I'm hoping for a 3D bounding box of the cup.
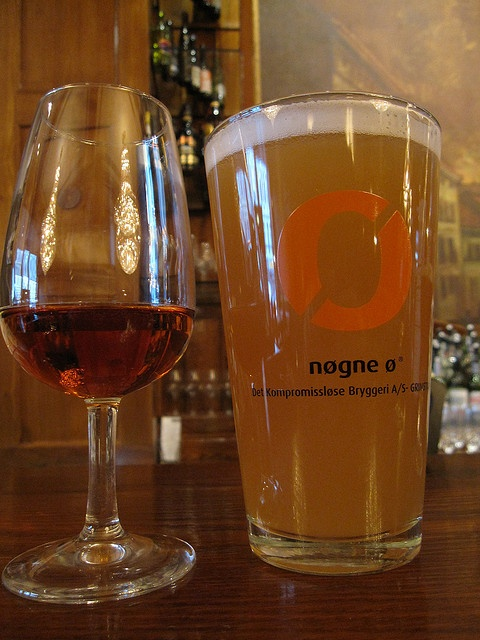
[{"bbox_3d":[0.043,0.004,0.318,0.112,0.202,0.061,-1,-3,-5],"label":"cup"}]
